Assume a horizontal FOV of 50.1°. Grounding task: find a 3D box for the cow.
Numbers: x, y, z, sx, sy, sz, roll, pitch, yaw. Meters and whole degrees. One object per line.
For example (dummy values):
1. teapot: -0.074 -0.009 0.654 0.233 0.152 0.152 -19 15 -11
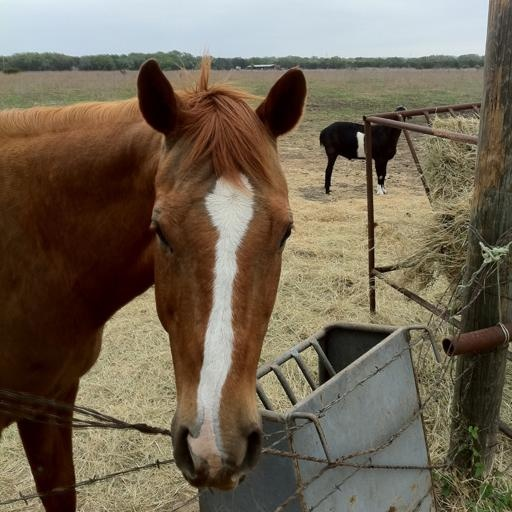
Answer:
1. cow: 1.851 -1.970 9.728 1.282 1.431 1.782 1 19 4
